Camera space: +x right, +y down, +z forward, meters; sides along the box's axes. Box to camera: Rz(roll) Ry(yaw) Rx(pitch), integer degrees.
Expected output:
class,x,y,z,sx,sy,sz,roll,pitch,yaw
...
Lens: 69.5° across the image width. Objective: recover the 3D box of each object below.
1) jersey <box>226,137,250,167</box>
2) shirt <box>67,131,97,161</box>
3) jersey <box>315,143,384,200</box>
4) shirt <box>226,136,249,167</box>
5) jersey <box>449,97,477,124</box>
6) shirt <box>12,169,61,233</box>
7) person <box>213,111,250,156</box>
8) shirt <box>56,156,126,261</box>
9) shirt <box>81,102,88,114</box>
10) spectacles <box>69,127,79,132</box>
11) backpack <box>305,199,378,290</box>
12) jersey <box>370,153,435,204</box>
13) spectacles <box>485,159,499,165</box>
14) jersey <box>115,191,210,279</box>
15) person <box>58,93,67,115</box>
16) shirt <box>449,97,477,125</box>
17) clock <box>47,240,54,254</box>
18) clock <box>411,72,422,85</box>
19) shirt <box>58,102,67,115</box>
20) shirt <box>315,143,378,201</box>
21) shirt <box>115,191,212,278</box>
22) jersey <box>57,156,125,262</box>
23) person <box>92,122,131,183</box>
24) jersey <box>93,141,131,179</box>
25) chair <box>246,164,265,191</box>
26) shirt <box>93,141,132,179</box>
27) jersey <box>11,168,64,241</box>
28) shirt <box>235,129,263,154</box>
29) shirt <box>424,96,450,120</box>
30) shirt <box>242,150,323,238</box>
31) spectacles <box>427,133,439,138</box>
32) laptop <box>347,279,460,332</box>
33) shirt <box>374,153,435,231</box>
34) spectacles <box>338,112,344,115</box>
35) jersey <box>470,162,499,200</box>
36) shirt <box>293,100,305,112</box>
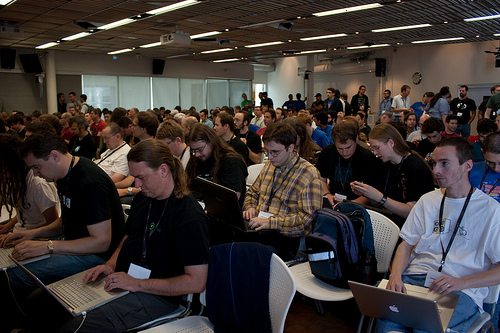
class,x,y,z,sx,sy,sz,roll,pitch,yaw
jersey,-0.163,-0.185,4.721,0.193,0.344,0.363,-16,36,-20
shirt,-2.749,-0.332,5.946,0.650,0.534,0.367,8,6,37
jersey,1.204,0.126,4.365,0.904,0.767,0.365,10,19,42
shirt,-0.169,-0.187,4.689,0.204,0.356,0.369,-19,32,-19
jersey,5.464,-1.414,9.311,0.415,0.713,0.713,-22,22,-36
shirt,-1.980,0.282,3.549,0.481,0.653,0.742,-5,3,-42
person,-0.292,-0.474,5.172,0.521,0.704,0.902,-4,8,-21
shirt,-1.433,0.300,3.200,0.449,0.834,0.839,-13,26,-37
shirt,-5.337,-1.849,11.680,0.207,0.242,0.540,-6,13,-24
spectacles,-3.065,-0.650,6.278,0.197,0.064,0.083,5,13,24
backpack,0.744,0.678,3.078,0.497,0.674,0.505,-7,3,-18
jersey,1.585,0.137,3.843,0.370,0.495,0.659,-17,13,-37
spectacles,2.291,-0.029,3.458,0.074,0.039,0.196,1,11,8
jersey,-0.634,0.519,2.622,0.589,0.426,0.292,3,-2,40
person,-6.370,-2.155,12.291,0.290,0.637,0.915,-6,13,-27
shirt,5.439,-1.390,9.240,0.360,0.671,0.681,-7,13,-31
clock,-1.573,0.642,2.865,0.040,0.095,0.071,-8,14,-34
clock,6.584,-3.475,14.309,0.081,0.473,0.391,-11,16,-42
shirt,-6.356,-2.008,12.298,0.286,0.336,0.470,-7,13,-29
shirt,1.154,0.089,4.445,0.816,0.766,0.458,7,21,20
shirt,-0.638,0.516,2.630,0.577,0.427,0.274,4,-3,42
jersey,-1.333,0.387,2.988,0.816,0.730,0.418,8,18,42
person,-1.876,-0.190,4.976,0.562,0.859,0.977,-2,8,-34
jersey,-1.782,-0.079,4.704,0.289,0.508,0.510,29,-11,-35
chair,0.041,0.125,4.861,0.287,0.403,0.277,0,-6,13
shirt,-1.770,-0.082,4.688,0.296,0.508,0.523,30,-13,-32
jersey,-1.876,0.328,3.208,0.534,0.516,0.327,-16,-3,43
shirt,-0.030,-0.427,6.303,0.568,0.498,0.245,3,7,36
shirt,4.377,-1.349,8.466,0.495,0.495,0.773,5,12,23
shirt,0.284,0.257,3.591,0.528,0.769,0.976,1,4,-40
spectacles,2.642,-0.443,5.215,0.135,0.082,0.084,6,13,28
laptop,1.044,0.836,2.440,0.488,0.320,0.436,1,21,36
shirt,1.468,0.255,3.431,0.416,0.800,0.711,2,0,-22
spectacles,2.141,-1.241,8.522,0.091,0.029,0.090,11,2,-4
jersey,2.141,0.137,3.287,0.175,0.303,0.317,0,7,-20
shirt,1.907,-2.358,14.011,0.440,0.391,0.782,1,11,6
